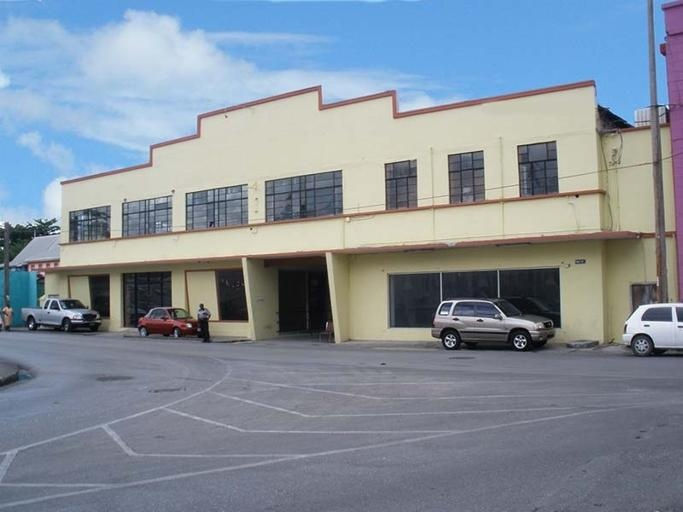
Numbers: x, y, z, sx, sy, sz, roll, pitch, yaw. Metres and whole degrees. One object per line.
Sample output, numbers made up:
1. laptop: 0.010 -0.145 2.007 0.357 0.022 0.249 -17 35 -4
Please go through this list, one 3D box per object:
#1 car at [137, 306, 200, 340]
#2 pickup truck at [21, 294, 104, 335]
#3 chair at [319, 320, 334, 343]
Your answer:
1. car: -9.021 3.623 36.312 2.548 1.223 1.688 -6 -8 36
2. pickup truck: -17.065 3.659 41.671 4.865 1.988 2.117 -7 -8 41
3. chair: -0.758 3.917 35.002 0.756 1.538 0.797 -2 -8 20
